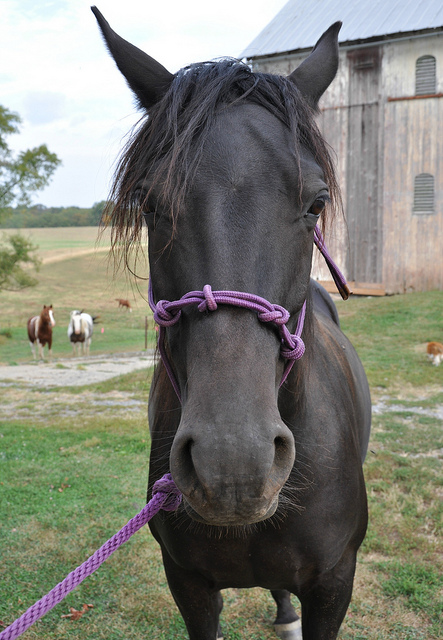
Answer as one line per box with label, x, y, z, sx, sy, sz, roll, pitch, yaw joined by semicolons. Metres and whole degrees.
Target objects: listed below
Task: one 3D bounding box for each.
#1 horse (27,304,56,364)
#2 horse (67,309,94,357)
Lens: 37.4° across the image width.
horse;-1.308;0.132;4.783;0.184;0.407;0.623;-2;-2;-27
horse;-1.141;0.127;5.263;0.199;0.426;0.670;-1;4;-6
